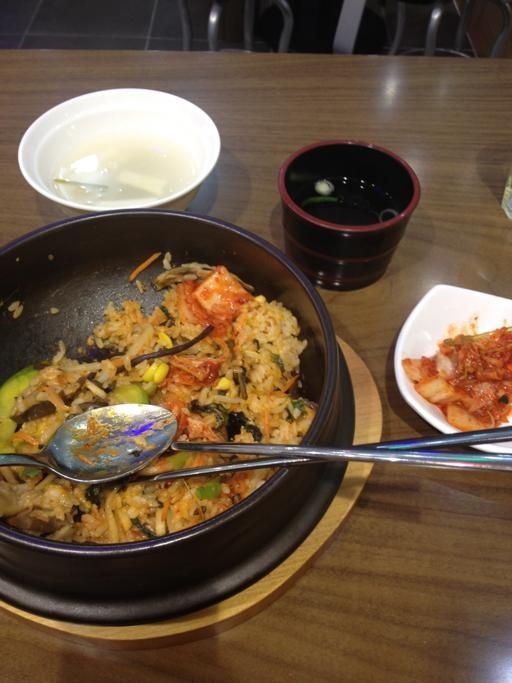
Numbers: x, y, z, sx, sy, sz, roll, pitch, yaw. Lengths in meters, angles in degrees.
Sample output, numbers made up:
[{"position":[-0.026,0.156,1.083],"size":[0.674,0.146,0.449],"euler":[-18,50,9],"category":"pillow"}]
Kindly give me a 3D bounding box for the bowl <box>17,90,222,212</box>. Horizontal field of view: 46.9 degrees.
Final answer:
[{"position":[-0.411,-0.565,1.792],"size":[0.581,0.144,0.528],"euler":[1,49,-1],"category":"bowl"}]

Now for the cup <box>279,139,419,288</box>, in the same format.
[{"position":[0.257,-0.343,1.636],"size":[0.347,0.260,0.381],"euler":[1,58,-1],"category":"cup"}]
